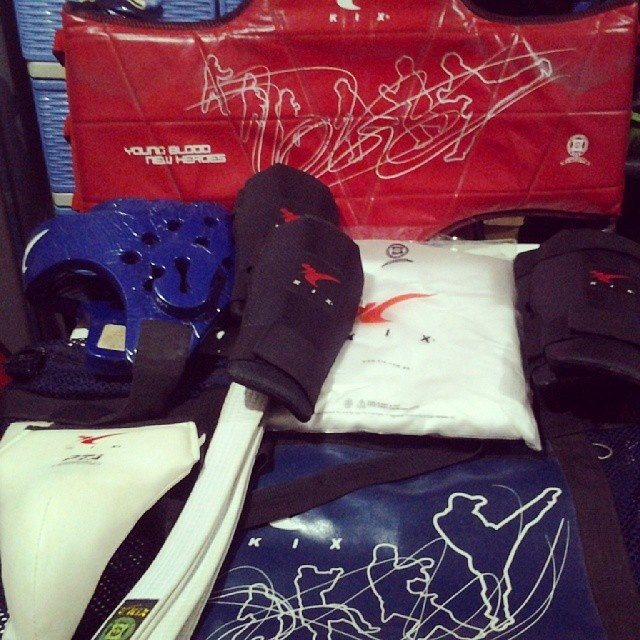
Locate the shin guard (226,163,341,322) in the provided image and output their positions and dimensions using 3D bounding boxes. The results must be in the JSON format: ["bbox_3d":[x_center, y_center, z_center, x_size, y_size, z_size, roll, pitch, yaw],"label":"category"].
[{"bbox_3d":[-0.082,-0.139,1.059,0.239,0.104,0.274,16,60,-8],"label":"shin guard"}]

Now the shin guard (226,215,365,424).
[{"bbox_3d":[-0.054,-0.002,0.939,0.219,0.107,0.302,24,48,-6],"label":"shin guard"}]

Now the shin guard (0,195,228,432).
[{"bbox_3d":[-0.320,-0.034,0.970,0.340,0.216,0.458,2,38,-1],"label":"shin guard"}]
